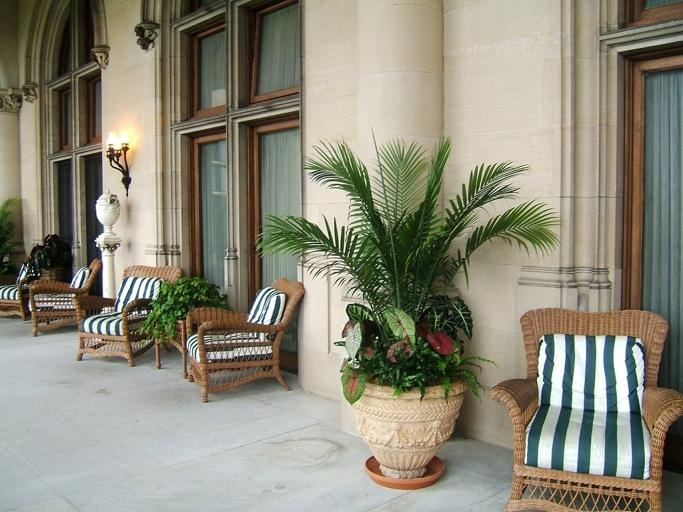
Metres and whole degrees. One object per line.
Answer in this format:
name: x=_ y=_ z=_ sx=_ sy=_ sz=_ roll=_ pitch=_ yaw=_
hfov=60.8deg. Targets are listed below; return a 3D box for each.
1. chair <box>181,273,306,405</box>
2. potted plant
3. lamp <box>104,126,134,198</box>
chair: x=-0.936 y=0.782 z=5.700 sx=1.206 sy=1.049 sz=1.017 roll=1 pitch=-1 yaw=-25
potted plant: x=0.552 y=0.308 z=4.172 sx=1.694 sy=2.352 sz=1.354 roll=3 pitch=8 yaw=28
lamp: x=-3.252 y=-1.347 z=8.431 sx=0.276 sy=0.957 sz=0.507 roll=-6 pitch=9 yaw=-37
